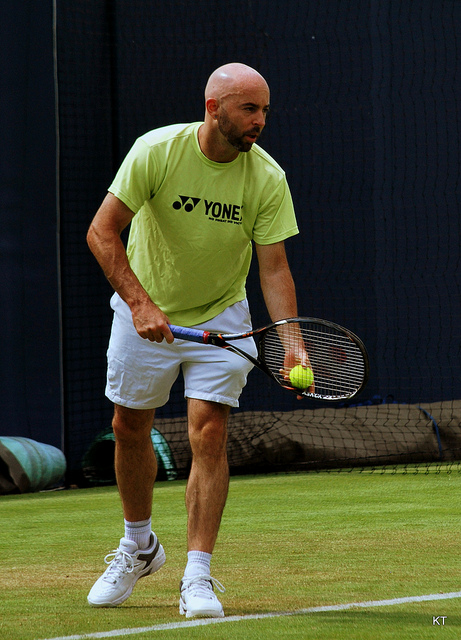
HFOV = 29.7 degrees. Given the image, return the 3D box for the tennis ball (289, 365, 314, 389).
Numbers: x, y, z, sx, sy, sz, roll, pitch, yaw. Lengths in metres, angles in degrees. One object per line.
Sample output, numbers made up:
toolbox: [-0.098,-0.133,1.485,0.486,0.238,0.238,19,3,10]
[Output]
tennis ball: [0.189,0.150,2.284,0.057,0.062,0.052,-3,-15,21]

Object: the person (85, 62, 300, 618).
person: [-0.121,0.081,2.307,0.560,1.485,0.617,6,16,6]

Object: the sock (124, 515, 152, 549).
sock: [-0.261,0.580,2.424,0.072,0.106,0.073,-6,6,-11]
